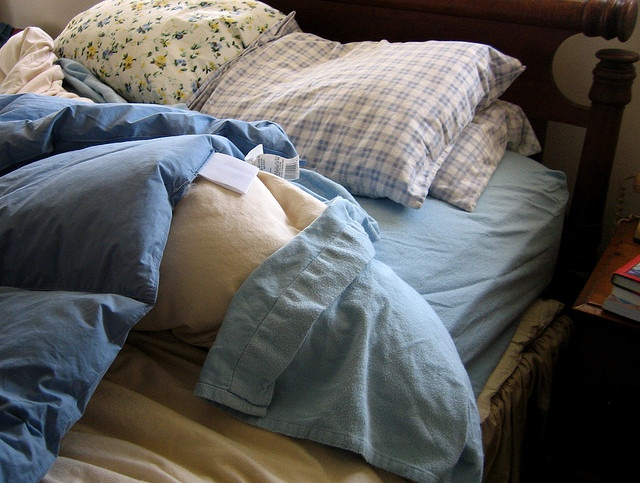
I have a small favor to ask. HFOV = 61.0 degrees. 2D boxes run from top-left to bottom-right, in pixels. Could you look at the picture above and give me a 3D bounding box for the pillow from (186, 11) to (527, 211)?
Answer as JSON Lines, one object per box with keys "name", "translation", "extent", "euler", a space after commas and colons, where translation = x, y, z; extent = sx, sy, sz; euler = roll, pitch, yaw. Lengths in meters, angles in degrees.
{"name": "pillow", "translation": [0.040, -0.278, 1.626], "extent": [0.707, 0.216, 0.654], "euler": [19, 58, 25]}
